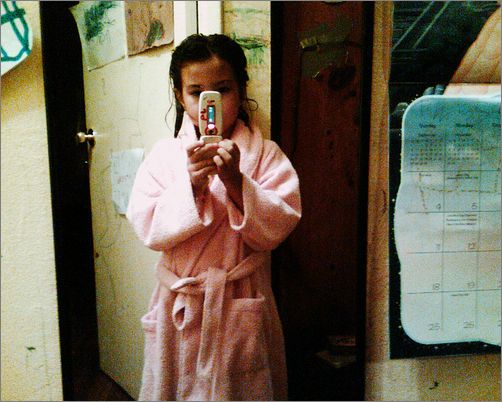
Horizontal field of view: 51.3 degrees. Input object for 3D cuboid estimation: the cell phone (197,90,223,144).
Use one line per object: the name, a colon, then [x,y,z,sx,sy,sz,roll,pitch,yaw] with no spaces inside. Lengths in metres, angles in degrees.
cell phone: [-0.123,-0.266,1.575,0.068,0.161,0.037,1,47,-3]
